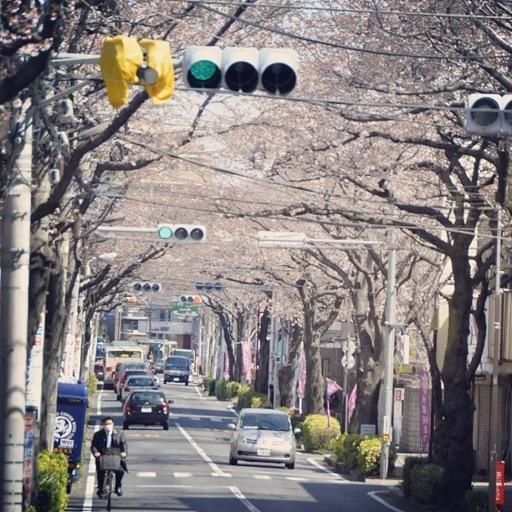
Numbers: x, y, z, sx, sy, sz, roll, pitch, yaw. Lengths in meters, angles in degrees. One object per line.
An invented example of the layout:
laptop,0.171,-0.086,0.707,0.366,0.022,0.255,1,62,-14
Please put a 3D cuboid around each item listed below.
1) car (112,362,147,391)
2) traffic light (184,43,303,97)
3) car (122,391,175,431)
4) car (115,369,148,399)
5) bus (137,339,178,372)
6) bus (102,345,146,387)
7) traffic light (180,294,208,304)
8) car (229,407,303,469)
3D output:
car,-6.253,6.047,66.458,1.329,1.523,2.664,0,4,-5
traffic light,-0.213,-2.347,16.930,1.457,0.664,0.513,2,-11,4
car,-3.502,5.146,43.328,1.171,1.175,2.829,1,3,-4
car,-5.419,5.673,58.017,0.856,1.109,1.966,0,1,-3
bus,-9.300,10.068,131.434,4.293,2.654,2.442,-4,9,-39
bus,-7.500,6.153,77.646,1.972,2.767,4.119,3,7,-1
traffic light,-3.206,2.313,69.532,1.134,0.392,0.368,7,-16,-28
car,0.265,4.563,33.480,1.719,1.557,1.847,-2,-13,20
